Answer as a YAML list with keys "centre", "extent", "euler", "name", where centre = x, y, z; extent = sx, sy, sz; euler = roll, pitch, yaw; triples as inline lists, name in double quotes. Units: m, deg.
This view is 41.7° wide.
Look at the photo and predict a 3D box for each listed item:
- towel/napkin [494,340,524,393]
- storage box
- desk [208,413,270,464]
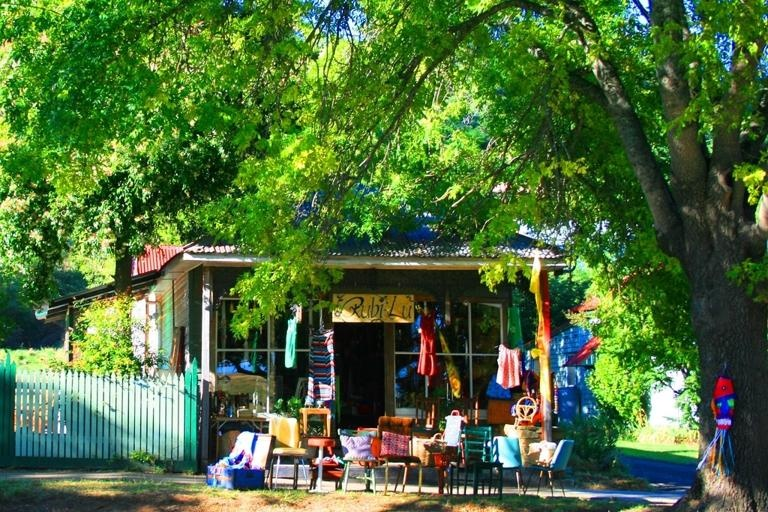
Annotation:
- centre: [2.924, 2.575, 23.587]
  extent: [0.527, 0.995, 0.989]
  euler: [-1, -11, 10]
  name: "towel/napkin"
- centre: [-2.940, 4.261, 20.323]
  extent: [0.873, 1.248, 1.592]
  euler: [8, -16, -27]
  name: "storage box"
- centre: [-3.409, 4.173, 23.562]
  extent: [1.257, 1.439, 1.050]
  euler: [3, -8, -12]
  name: "desk"
